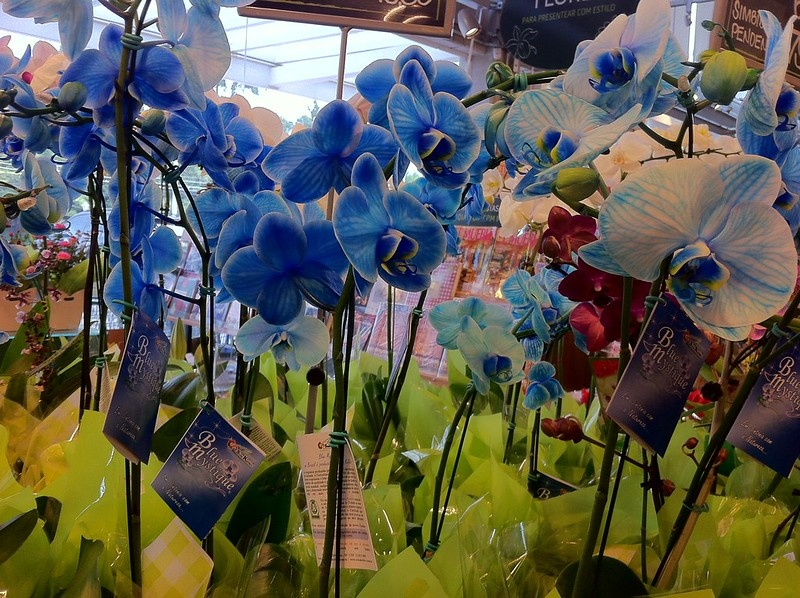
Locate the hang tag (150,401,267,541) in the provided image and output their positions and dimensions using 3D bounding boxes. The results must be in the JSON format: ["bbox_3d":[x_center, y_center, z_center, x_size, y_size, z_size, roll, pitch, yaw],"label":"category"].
[{"bbox_3d":[-0.218,0.198,0.641,0.088,0.127,0.011,28,6,0],"label":"hang tag"}]
